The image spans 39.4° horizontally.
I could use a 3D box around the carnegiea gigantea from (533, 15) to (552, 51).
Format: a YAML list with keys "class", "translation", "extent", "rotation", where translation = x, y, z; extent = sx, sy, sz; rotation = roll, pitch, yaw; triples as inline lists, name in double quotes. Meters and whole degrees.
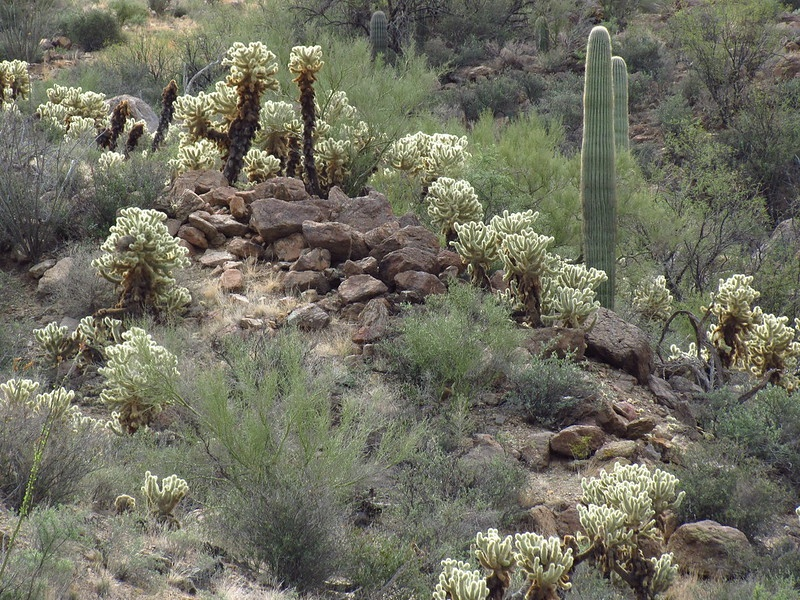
- class: "carnegiea gigantea"
  translation: [3.745, -7.307, 29.793]
  extent: [0.298, 1.014, 0.379]
  rotation: [7, 58, 7]
